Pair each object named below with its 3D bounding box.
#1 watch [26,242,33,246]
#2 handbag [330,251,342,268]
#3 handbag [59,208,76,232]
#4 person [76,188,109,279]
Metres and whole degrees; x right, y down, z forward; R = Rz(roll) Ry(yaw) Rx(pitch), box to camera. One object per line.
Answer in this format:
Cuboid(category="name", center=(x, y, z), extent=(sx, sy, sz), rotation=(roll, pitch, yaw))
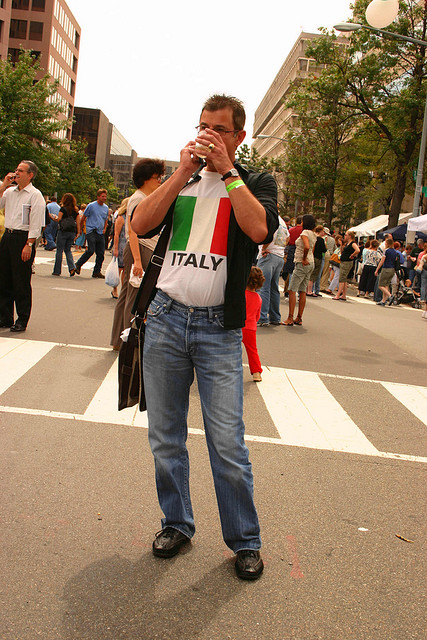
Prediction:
Cuboid(category="watch", center=(-2.535, -1.021, 6.560), extent=(0.087, 0.035, 0.059), rotation=(6, 2, 10))
Cuboid(category="handbag", center=(4.612, -2.235, 18.094), extent=(0.432, 0.599, 0.214), rotation=(15, -13, 23))
Cuboid(category="handbag", center=(-4.158, -2.777, 13.560), extent=(0.483, 0.694, 0.278), rotation=(-22, -13, -16))
Cuboid(category="person", center=(-3.501, -2.473, 13.895), extent=(0.827, 2.546, 0.723), rotation=(3, 0, -22))
